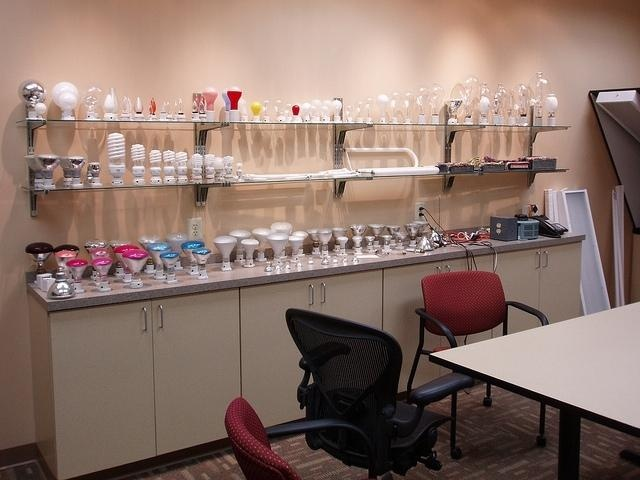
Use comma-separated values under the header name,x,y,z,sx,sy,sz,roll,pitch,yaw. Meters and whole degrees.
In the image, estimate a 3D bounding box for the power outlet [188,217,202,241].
name,x,y,z,sx,sy,sz,roll,pitch,yaw
power outlet,-0.876,-0.080,3.482,0.134,0.206,0.024,-4,7,-40

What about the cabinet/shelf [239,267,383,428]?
name,x,y,z,sx,sy,sz,roll,pitch,yaw
cabinet/shelf,-0.106,0.596,2.753,0.834,0.825,0.303,-5,10,-26

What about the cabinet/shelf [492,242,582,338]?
name,x,y,z,sx,sy,sz,roll,pitch,yaw
cabinet/shelf,1.698,0.376,3.972,0.657,0.650,0.232,-4,4,-33

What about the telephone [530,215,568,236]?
name,x,y,z,sx,sy,sz,roll,pitch,yaw
telephone,2.078,-0.161,4.514,0.274,0.099,0.211,6,13,33
